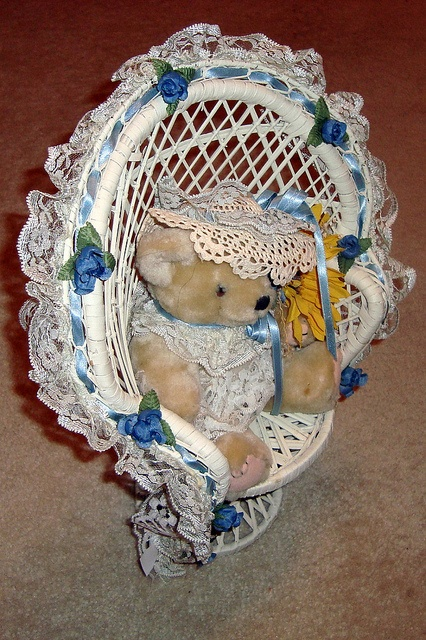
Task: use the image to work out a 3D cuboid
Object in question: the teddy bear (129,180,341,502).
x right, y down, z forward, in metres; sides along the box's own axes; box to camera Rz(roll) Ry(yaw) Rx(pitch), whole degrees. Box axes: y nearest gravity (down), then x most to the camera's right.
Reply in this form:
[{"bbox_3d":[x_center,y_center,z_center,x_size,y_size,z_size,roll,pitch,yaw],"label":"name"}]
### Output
[{"bbox_3d":[0.017,0.014,1.533,0.483,0.580,0.524,22,32,30],"label":"teddy bear"}]
